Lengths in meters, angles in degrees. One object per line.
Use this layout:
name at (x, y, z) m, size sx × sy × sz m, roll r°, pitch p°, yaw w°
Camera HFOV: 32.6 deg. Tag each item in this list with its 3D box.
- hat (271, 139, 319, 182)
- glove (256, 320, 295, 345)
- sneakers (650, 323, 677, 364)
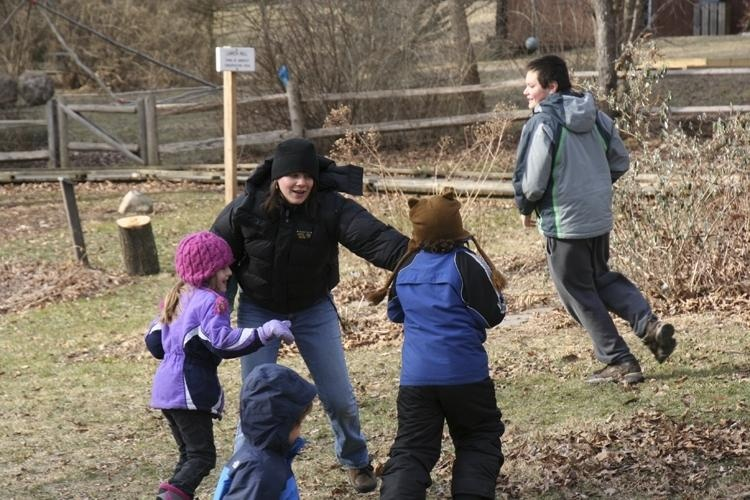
hat at (-0.985, -1.057, 15.436) m, size 0.522 × 0.388 × 0.491 m, roll -4°, pitch -3°, yaw 13°
glove at (-1.176, 0.966, 15.286) m, size 0.414 × 0.298 × 0.439 m, roll -7°, pitch 5°, yaw -5°
sneakers at (3.658, 1.200, 16.225) m, size 0.262 × 0.553 × 0.261 m, roll 20°, pitch 56°, yaw 42°
